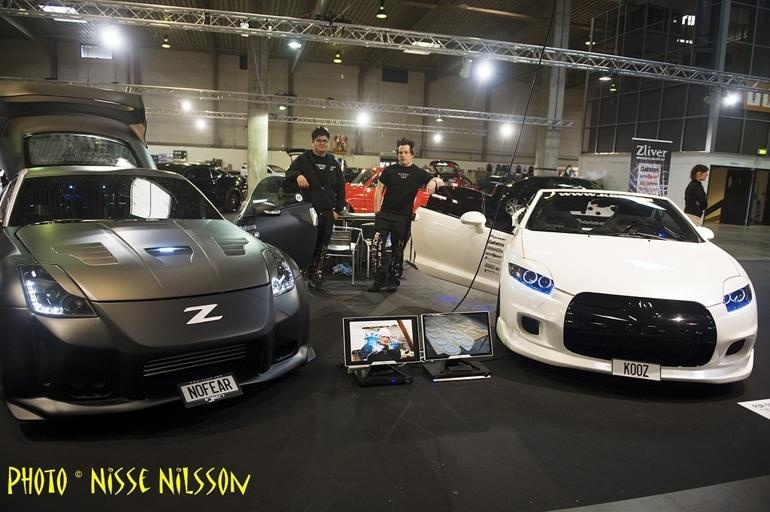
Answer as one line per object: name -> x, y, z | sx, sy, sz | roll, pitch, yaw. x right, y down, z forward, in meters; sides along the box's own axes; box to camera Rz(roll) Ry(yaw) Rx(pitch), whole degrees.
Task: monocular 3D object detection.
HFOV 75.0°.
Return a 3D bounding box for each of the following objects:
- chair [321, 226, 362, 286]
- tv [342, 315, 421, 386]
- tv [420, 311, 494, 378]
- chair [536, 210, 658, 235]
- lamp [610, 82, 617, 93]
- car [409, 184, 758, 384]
chair -> -0.579, 0.007, 6.660 | 0.533, 0.725, 0.486 | 4, 30, 7
tv -> -0.023, 0.737, 3.971 | 0.579, 0.523, 0.316 | -1, -4, -6
tv -> 0.594, 0.728, 4.111 | 0.553, 0.515, 0.325 | -2, 2, -8
chair -> 1.945, -0.291, 4.767 | 1.197, 0.218, 0.289 | 0, 14, -3
lamp -> 9.138, -6.722, 20.036 | 0.305, 0.342, 0.313 | -4, 5, -19
car -> 2.270, 0.012, 5.370 | 2.019, 1.363, 3.716 | 4, 9, 10
